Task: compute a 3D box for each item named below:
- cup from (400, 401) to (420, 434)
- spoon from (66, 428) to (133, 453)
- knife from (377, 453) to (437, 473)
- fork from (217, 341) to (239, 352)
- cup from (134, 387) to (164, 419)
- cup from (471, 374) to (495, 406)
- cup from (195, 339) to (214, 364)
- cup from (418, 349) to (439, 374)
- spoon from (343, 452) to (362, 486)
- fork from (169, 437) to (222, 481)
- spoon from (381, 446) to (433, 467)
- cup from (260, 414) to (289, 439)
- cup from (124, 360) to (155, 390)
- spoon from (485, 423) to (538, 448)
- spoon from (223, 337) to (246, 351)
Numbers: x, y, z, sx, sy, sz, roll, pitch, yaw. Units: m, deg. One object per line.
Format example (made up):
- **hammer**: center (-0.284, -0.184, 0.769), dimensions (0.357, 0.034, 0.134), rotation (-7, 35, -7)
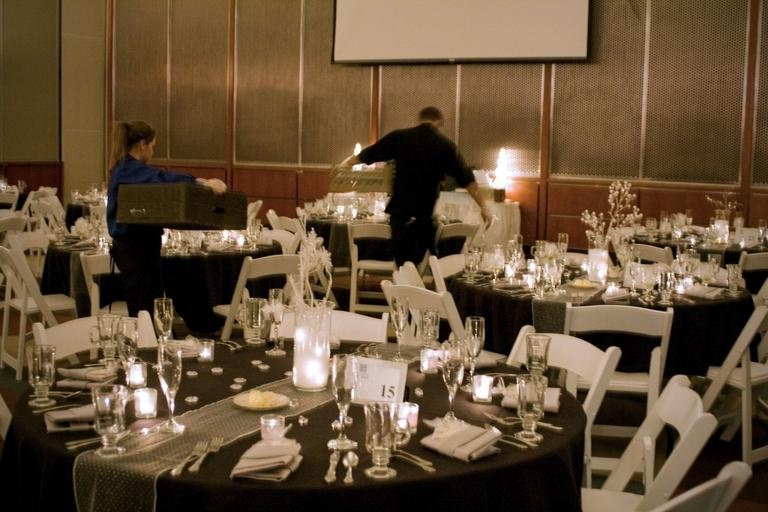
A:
- **cup**: center (0.104, 0.670, 2.717), dimensions (0.091, 0.119, 0.106), rotation (0, 2, -1)
- **spoon**: center (-1.122, 0.711, 2.562), dimensions (0.250, 0.075, 0.132), rotation (0, 14, -5)
- **knife**: center (0.110, 0.779, 2.532), dimensions (0.059, 0.038, 0.216), rotation (-21, 17, -40)
- **fork**: center (-0.820, 0.476, 3.498), dimensions (0.083, 0.025, 0.060), rotation (25, 24, 39)
- **cup**: center (-0.993, 0.621, 2.811), dimensions (0.104, 0.135, 0.112), rotation (1, 5, 0)
- **cup**: center (0.450, 0.612, 2.994), dimensions (0.101, 0.118, 0.106), rotation (0, -1, 0)
- **cup**: center (-0.893, 0.480, 3.297), dimensions (0.097, 0.107, 0.082), rotation (0, 7, -11)
- **cup**: center (0.225, 0.526, 3.306), dimensions (0.097, 0.136, 0.104), rotation (0, 2, 0)
- **spoon**: center (-0.128, 0.795, 2.452), dimensions (0.035, 0.019, 0.112), rotation (0, 38, 1)
- **fork**: center (-0.705, 0.759, 2.511), dimensions (0.060, 0.029, 0.239), rotation (4, 17, 11)
- **spoon**: center (0.097, 0.775, 2.542), dimensions (0.060, 0.033, 0.225), rotation (-19, 16, -38)
- **cup**: center (-0.423, 0.646, 2.550), dimensions (0.092, 0.079, 0.099), rotation (0, 3, 0)
- **cup**: center (-1.102, 0.533, 2.990), dimensions (0.127, 0.160, 0.128), rotation (1, 7, 0)
- **spoon**: center (0.526, 0.740, 2.692), dimensions (0.045, 0.041, 0.313), rotation (-10, 7, -27)
- **spoon**: center (-0.807, 0.474, 3.509), dimensions (0.099, 0.030, 0.056), rotation (9, 10, 39)
